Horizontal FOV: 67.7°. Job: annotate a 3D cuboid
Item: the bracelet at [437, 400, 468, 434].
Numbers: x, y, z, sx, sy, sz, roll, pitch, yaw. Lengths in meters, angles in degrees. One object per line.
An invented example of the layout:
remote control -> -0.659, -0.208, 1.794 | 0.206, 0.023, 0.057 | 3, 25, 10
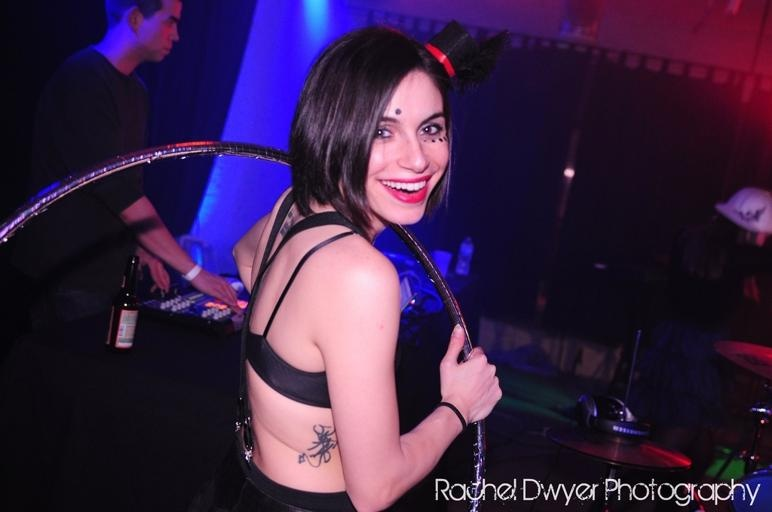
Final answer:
bracelet -> 0.316, 0.787, 2.830 | 0.136, 0.033, 0.131 | 44, 44, 0

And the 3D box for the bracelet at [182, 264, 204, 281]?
bracelet -> -1.384, 0.117, 4.109 | 0.091, 0.139, 0.141 | 42, -3, -1

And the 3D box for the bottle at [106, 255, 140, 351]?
bottle -> -1.606, 0.281, 3.517 | 0.167, 0.556, 0.234 | 4, 11, -25
